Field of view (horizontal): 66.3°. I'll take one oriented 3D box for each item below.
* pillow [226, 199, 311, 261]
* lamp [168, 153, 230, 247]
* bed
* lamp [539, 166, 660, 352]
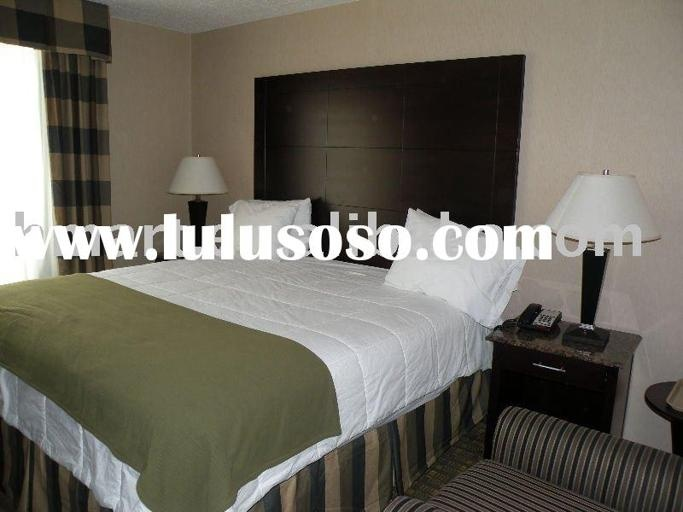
[{"bbox_3d":[-0.612,-0.252,4.449,0.712,0.454,0.485,1,12,-2],"label":"pillow"},{"bbox_3d":[-1.374,-0.536,5.131,0.496,0.891,0.514,5,12,19],"label":"lamp"},{"bbox_3d":[-0.409,0.568,3.144,2.675,0.618,2.034,-4,14,-22],"label":"bed"},{"bbox_3d":[1.421,0.026,2.896,0.570,0.986,0.293,7,13,26],"label":"lamp"}]
